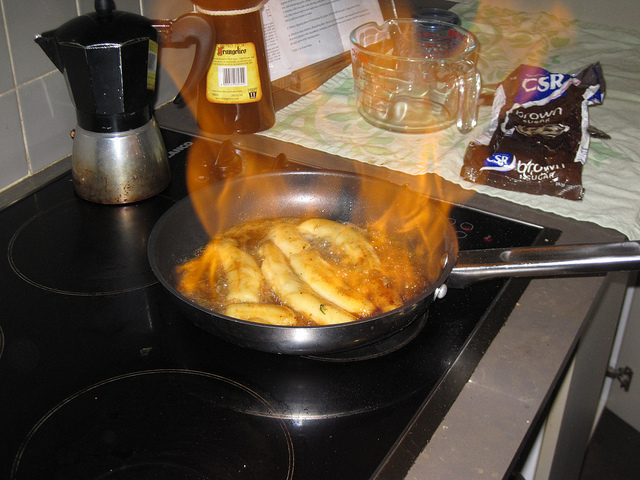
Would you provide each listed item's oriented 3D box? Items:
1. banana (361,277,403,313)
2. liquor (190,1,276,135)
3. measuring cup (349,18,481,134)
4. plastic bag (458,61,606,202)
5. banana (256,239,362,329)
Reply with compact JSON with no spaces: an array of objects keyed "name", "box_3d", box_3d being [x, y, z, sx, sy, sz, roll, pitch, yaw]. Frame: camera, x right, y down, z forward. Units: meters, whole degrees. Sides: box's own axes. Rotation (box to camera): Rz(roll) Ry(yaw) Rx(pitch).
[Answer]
[{"name":"banana","box_3d":[0.104,0.089,0.870,0.038,0.019,0.061,-17,37,-10]},{"name":"liquor","box_3d":[-0.185,-0.388,1.214,0.155,0.310,0.166,-3,26,-4]},{"name":"measuring cup","box_3d":[0.246,-0.425,1.410,0.292,0.198,0.293,-1,29,0]},{"name":"plastic bag","box_3d":[0.517,-0.289,1.243,0.275,0.089,0.431,11,66,24]},{"name":"banana","box_3d":[-0.019,0.075,0.882,0.140,0.034,0.046,42,35,18]}]
